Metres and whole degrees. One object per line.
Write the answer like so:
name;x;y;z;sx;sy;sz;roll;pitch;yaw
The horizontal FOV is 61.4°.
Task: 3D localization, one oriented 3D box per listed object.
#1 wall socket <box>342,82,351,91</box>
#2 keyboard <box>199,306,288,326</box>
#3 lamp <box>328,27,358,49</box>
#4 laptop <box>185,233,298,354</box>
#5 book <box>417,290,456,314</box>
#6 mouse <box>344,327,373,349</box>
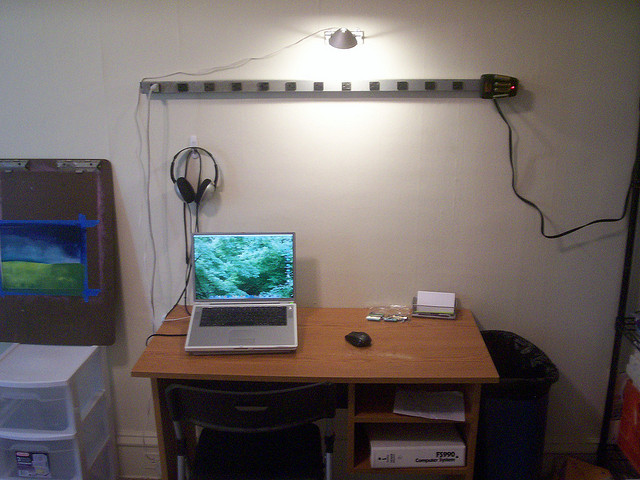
wall socket;0.138;-0.802;2.809;0.052;0.051;0.036;2;21;0
keyboard;-0.390;0.394;2.753;0.440;0.060;0.118;-1;11;-4
lamp;0.112;-1.003;2.674;0.106;0.052;0.108;-10;42;-8
laptop;-0.385;0.254;2.658;0.543;0.409;0.463;-1;22;-6
book;0.632;0.341;2.919;0.176;0.120;0.042;5;-7;9
mouse;0.196;0.493;2.740;0.143;0.062;0.177;1;11;6
